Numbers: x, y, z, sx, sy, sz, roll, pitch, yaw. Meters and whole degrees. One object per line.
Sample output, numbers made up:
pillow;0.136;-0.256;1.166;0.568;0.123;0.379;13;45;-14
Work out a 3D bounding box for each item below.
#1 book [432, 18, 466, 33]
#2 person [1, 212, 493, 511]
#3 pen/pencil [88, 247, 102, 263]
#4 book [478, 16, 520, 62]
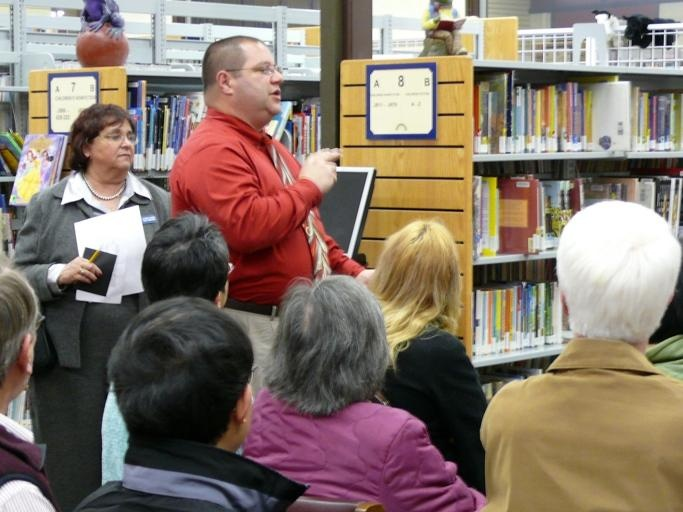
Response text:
book;0.563;-1.192;3.781;0.145;0.075;0.072;3;6;2
person;-0.118;0.335;2.500;1.034;0.914;0.921;8;8;38
pen/pencil;-1.075;0.002;3.191;0.013;0.066;0.017;27;-23;9
book;1.010;-1.379;4.662;0.230;0.291;0.182;4;6;10
